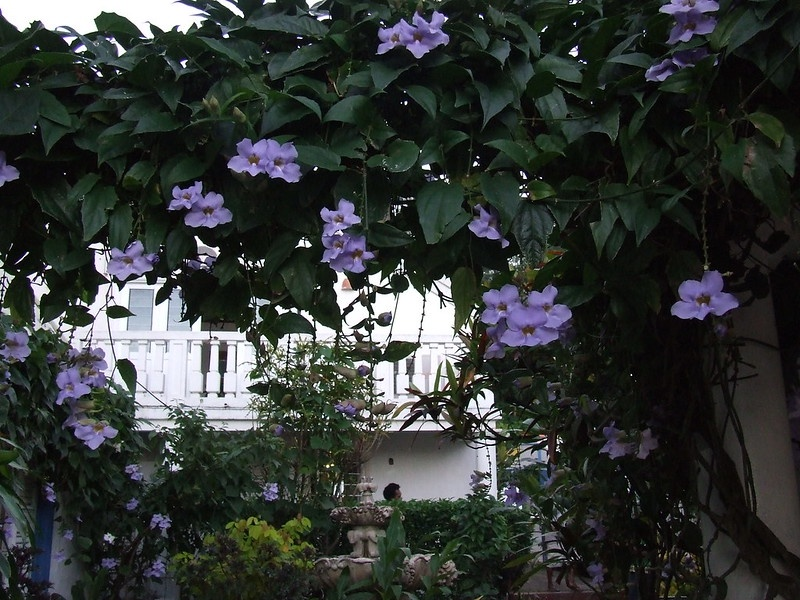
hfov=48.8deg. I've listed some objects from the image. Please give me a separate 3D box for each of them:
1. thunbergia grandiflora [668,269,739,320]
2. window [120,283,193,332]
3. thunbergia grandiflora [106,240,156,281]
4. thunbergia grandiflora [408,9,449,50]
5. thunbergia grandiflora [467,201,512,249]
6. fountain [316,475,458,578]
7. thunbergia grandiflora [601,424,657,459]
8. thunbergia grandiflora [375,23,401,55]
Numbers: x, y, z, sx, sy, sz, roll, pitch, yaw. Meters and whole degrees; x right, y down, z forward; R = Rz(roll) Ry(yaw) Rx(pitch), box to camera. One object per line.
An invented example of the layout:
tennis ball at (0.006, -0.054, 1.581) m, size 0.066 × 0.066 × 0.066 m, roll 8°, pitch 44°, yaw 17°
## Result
thunbergia grandiflora at (0.589, -0.007, 1.717) m, size 0.096 × 0.109 × 0.049 m, roll -13°, pitch -24°, yaw 1°
window at (-1.723, 0.075, 6.149) m, size 0.390 × 0.377 × 0.031 m, roll -4°, pitch -16°, yaw 9°
thunbergia grandiflora at (-0.592, -0.089, 1.945) m, size 0.106 × 0.078 × 0.141 m, roll 1°, pitch -11°, yaw -16°
thunbergia grandiflora at (0.066, -0.558, 1.815) m, size 0.085 × 0.076 × 0.054 m, roll 2°, pitch -11°, yaw -20°
thunbergia grandiflora at (0.180, -0.153, 1.824) m, size 0.077 × 0.089 × 0.025 m, roll -15°, pitch -14°, yaw -20°
fountain at (-0.125, 1.207, 4.460) m, size 0.543 × 0.440 × 0.534 m, roll 0°, pitch -10°, yaw 0°
thunbergia grandiflora at (0.535, 0.331, 2.067) m, size 0.134 × 0.077 × 0.077 m, roll -5°, pitch -11°, yaw 17°
thunbergia grandiflora at (-0.026, -0.543, 1.838) m, size 0.046 × 0.071 × 0.054 m, roll -2°, pitch -10°, yaw 0°
